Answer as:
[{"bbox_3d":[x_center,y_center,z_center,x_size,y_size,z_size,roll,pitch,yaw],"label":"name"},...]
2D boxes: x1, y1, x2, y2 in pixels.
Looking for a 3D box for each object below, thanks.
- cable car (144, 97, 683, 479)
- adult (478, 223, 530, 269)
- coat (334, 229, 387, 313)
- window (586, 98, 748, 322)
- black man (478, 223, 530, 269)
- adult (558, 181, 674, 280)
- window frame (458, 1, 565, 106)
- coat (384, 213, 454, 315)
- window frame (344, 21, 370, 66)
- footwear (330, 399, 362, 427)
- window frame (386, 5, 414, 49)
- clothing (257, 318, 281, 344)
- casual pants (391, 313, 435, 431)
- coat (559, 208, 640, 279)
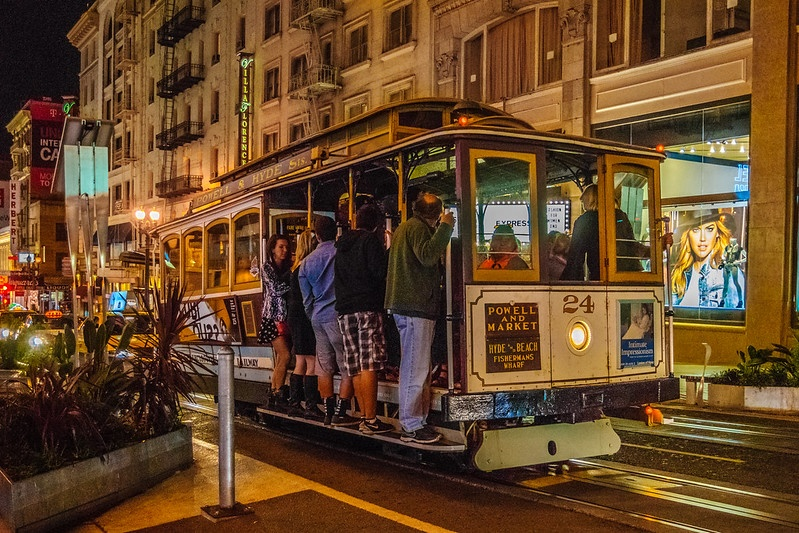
[{"bbox_3d":[-0.445,0.246,17.365,5.099,5.389,9.940,1,-3,-29],"label":"cable car"},{"bbox_3d":[1.568,-0.200,13.755,0.966,0.917,0.580,1,-9,-10],"label":"adult"},{"bbox_3d":[-0.593,0.067,14.349,0.902,1.444,1.085,7,-12,-35],"label":"coat"},{"bbox_3d":[5.894,-1.202,18.637,0.258,6.332,5.297,-3,3,-31],"label":"window"},{"bbox_3d":[1.527,-0.177,13.738,0.966,0.917,0.580,1,-9,-10],"label":"black man"},{"bbox_3d":[3.529,-0.539,14.470,1.681,0.791,2.750,-15,-22,29],"label":"adult"},{"bbox_3d":[3.442,-6.383,26.057,0.252,3.464,4.926,6,-5,-41],"label":"window frame"},{"bbox_3d":[0.324,-0.045,13.810,0.950,1.598,1.634,2,5,-12],"label":"coat"},{"bbox_3d":[-1.518,-8.278,32.663,0.142,2.043,1.654,1,-7,-35],"label":"window frame"},{"bbox_3d":[-0.794,2.399,14.320,0.256,0.493,0.680,-2,-4,42],"label":"footwear"},{"bbox_3d":[0.076,-8.276,30.352,0.167,1.792,1.494,6,-12,-39],"label":"window frame"},{"bbox_3d":[-2.323,1.085,15.788,0.553,0.572,0.350,0,-2,-26],"label":"clothing"},{"bbox_3d":[0.237,1.600,13.412,0.594,1.759,0.384,-1,6,1],"label":"casual pants"},{"bbox_3d":[3.283,-0.351,14.210,1.015,0.871,0.321,0,6,16],"label":"coat"}]
